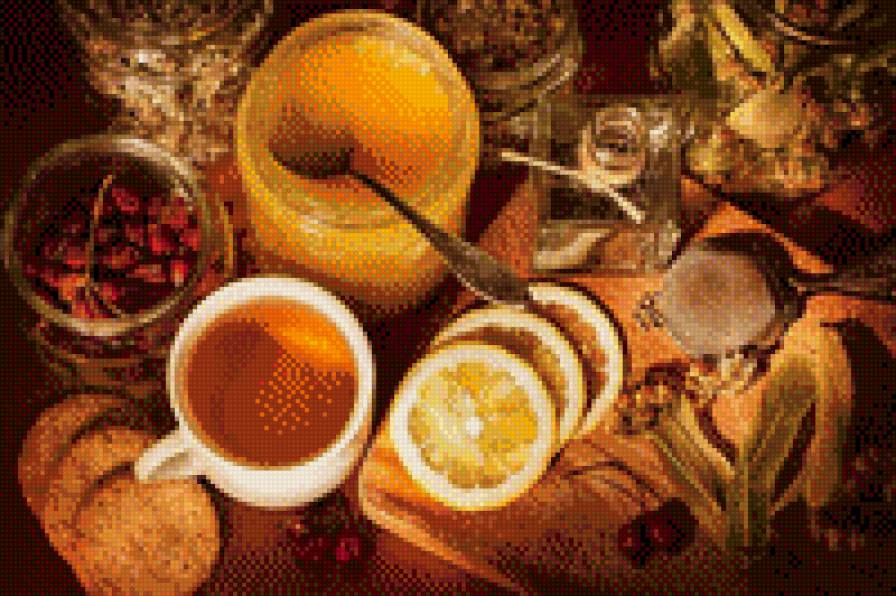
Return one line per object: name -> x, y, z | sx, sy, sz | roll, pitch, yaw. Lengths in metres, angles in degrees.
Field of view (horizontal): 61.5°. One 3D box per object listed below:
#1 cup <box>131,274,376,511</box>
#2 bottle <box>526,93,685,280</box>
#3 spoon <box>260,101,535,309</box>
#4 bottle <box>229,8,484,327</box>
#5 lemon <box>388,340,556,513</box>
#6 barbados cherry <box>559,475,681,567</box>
cup -> -0.384, 0.217, 1.640 | 0.512, 0.351, 0.403 | -36, 89, -17
bottle -> 0.303, -0.237, 1.726 | 0.342, 0.513, 0.378 | 0, 90, 2
spoon -> -0.126, -0.187, 1.585 | 0.668, 0.059, 0.163 | 41, 84, -10
bottle -> -0.169, -0.260, 1.758 | 0.513, 0.578, 0.633 | 0, 84, -6
lemon -> 0.058, 0.285, 1.674 | 0.347, 0.117, 0.336 | -22, 69, -13
barbados cherry -> 0.414, 0.500, 1.687 | 0.174, 0.071, 0.110 | 38, 43, 21
